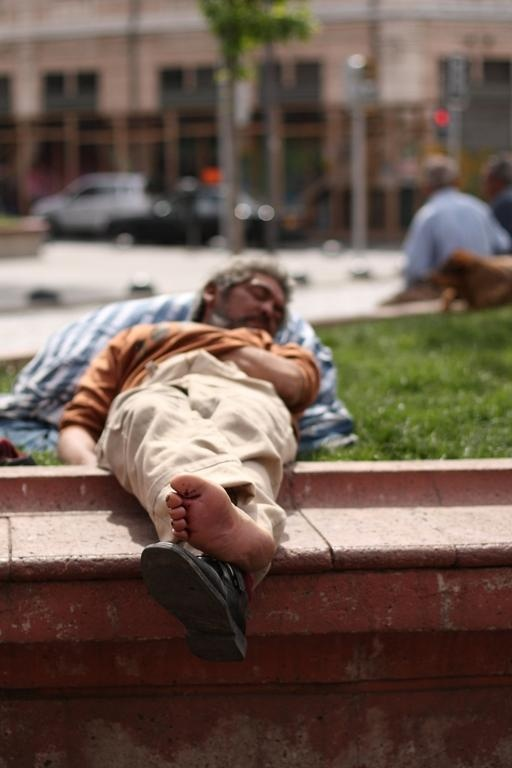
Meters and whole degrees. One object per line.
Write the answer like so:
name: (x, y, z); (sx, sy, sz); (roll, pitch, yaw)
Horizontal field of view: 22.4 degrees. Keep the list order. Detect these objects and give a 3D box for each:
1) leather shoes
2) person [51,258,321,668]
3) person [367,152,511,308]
leather shoes: (-0.129, 0.476, 2.917); (0.154, 0.364, 0.167); (-7, 34, 34)
person: (-0.118, 0.220, 3.465); (0.805, 0.694, 1.370); (-3, 7, -9)
person: (0.808, -0.653, 5.432); (0.515, 0.607, 1.032); (-1, 7, 10)
